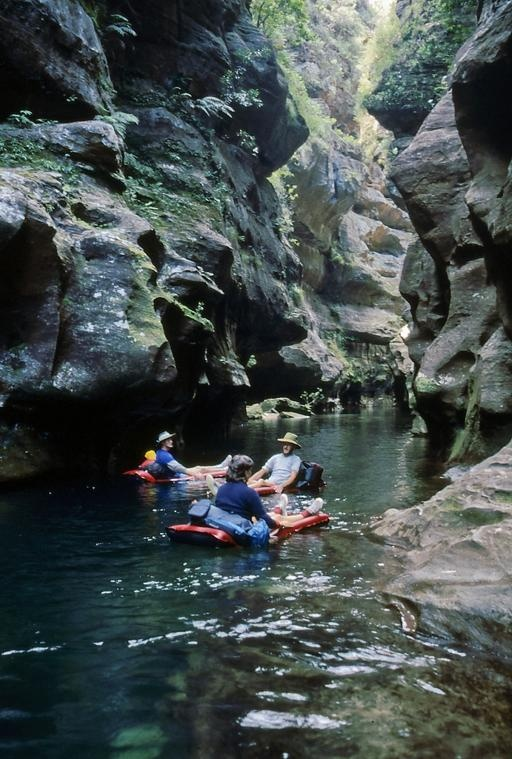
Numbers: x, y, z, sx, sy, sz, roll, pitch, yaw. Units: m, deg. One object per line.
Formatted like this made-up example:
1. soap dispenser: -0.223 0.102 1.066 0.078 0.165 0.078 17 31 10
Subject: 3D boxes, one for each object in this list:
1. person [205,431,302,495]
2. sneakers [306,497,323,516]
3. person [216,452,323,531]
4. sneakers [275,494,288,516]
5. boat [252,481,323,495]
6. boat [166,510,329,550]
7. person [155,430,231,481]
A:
1. person: 0.066 1.351 10.000 0.737 0.925 1.660 -5 -1 45
2. sneakers: 0.694 1.543 8.141 0.135 0.135 0.358 14 14 15
3. person: 0.077 1.312 7.444 0.933 0.812 1.526 6 -4 36
4. sneakers: 0.271 1.534 7.995 0.121 0.290 0.213 -2 16 5
5. boat: 0.453 1.722 10.266 0.808 0.165 0.417 2 -6 -25
6. boat: -0.062 1.632 7.146 0.606 0.132 1.291 -4 -8 38
7. person: -1.228 1.439 12.253 1.734 0.829 1.043 2 7 -33
